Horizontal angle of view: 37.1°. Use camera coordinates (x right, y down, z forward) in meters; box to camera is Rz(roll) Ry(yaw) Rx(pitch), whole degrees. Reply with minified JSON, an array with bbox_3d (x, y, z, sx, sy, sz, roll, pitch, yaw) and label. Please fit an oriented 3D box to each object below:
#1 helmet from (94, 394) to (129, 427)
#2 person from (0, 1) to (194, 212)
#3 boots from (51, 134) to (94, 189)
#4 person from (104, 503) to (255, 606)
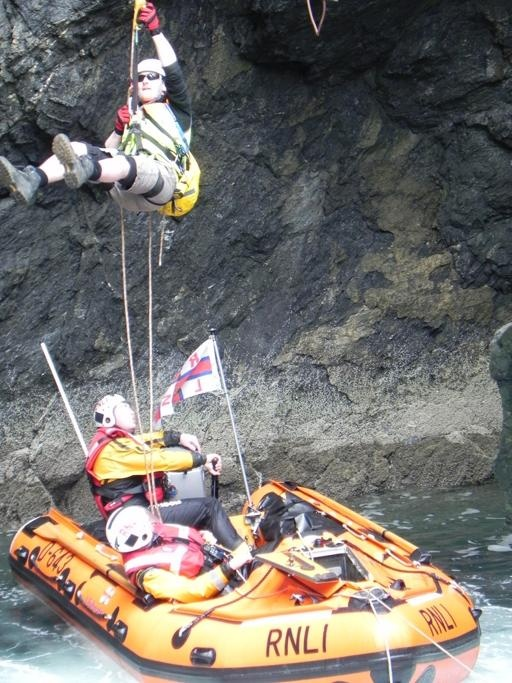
[{"bbox_3d":[-0.995,0.458,5.234,0.228,0.214,0.183,10,3,20],"label":"helmet"},{"bbox_3d":[-0.780,-1.231,4.114,0.586,1.199,1.422,-3,12,14],"label":"person"},{"bbox_3d":[-0.862,-0.849,3.632,0.141,0.228,0.306,-4,12,8],"label":"boots"},{"bbox_3d":[-0.429,1.223,4.448,0.836,0.307,0.618,12,22,7],"label":"person"}]
